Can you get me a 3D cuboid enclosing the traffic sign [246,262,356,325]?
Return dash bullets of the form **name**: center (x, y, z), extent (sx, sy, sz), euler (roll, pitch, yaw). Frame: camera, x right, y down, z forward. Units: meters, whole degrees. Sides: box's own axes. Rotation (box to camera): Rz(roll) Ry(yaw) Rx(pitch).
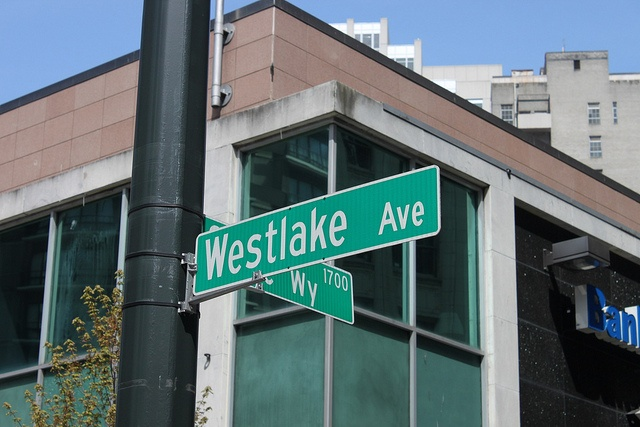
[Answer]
- **traffic sign**: center (-0.035, 0.927, 13.649), extent (1.065, 0.643, 0.039), euler (12, 15, 30)
